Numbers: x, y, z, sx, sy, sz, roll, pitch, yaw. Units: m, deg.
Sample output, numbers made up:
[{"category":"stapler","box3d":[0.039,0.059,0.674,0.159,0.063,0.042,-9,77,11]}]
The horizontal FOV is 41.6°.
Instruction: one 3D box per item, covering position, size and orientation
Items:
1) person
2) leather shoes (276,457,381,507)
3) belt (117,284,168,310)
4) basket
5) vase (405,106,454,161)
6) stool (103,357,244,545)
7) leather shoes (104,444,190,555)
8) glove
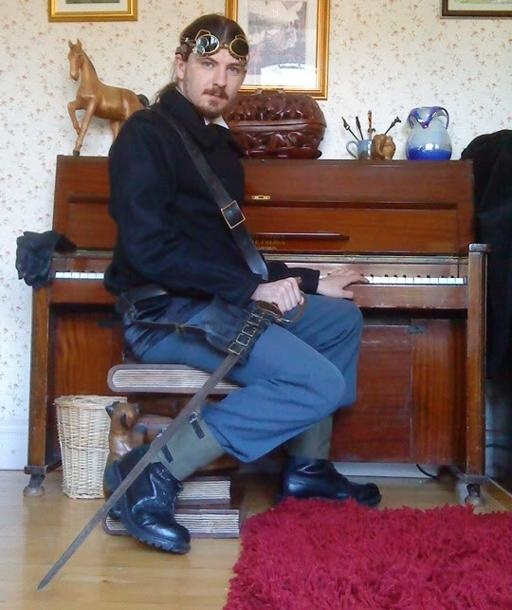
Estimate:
[{"category":"person","box3d":[-0.063,-0.112,1.839,0.749,1.198,0.574,-4,1,-31]},{"category":"leather shoes","box3d":[0.198,0.520,2.000,0.394,0.126,0.119,2,-3,-11]},{"category":"belt","box3d":[-0.295,-0.019,1.762,0.112,0.028,0.067,-22,-13,24]},{"category":"basket","box3d":[-0.517,0.466,2.257,0.220,0.243,0.203,4,-8,4]},{"category":"vase","box3d":[0.665,-0.660,2.603,0.190,0.200,0.159,-4,13,12]},{"category":"stool","box3d":[-0.137,0.392,2.044,0.537,0.540,0.471,1,-1,-3]},{"category":"leather shoes","box3d":[-0.282,0.487,1.714,0.183,0.227,0.258,-4,1,-16]},{"category":"glove","box3d":[-0.719,-0.156,2.265,0.221,0.168,0.082,3,2,-3]}]
